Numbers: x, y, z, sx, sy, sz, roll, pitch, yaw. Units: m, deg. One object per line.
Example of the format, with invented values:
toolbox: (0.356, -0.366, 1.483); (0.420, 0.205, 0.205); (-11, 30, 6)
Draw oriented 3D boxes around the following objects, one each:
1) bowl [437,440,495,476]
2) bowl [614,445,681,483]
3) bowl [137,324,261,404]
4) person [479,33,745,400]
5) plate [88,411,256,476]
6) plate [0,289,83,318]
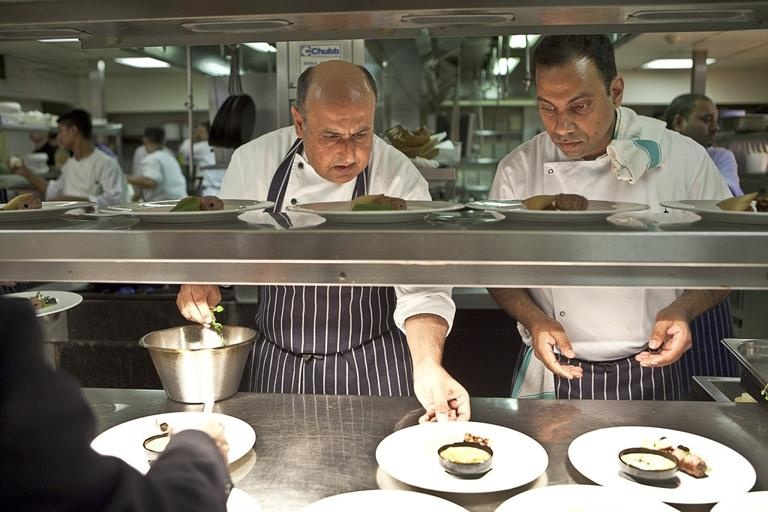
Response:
bowl: (0.199, 0.499, 1.542); (0.134, 0.049, 0.111); (-1, 9, 4)
bowl: (0.636, 0.510, 1.523); (0.132, 0.051, 0.135); (-1, 2, 0)
bowl: (-0.538, 0.296, 1.778); (0.265, 0.123, 0.270); (0, 2, 0)
person: (0.773, -0.078, 2.068); (0.834, 1.283, 0.882); (0, 9, 8)
plate: (-0.587, 0.462, 1.665); (0.271, 0.029, 0.264); (-4, 14, -42)
plate: (-1.170, 0.163, 2.176); (0.199, 0.020, 0.198); (8, 10, 21)
